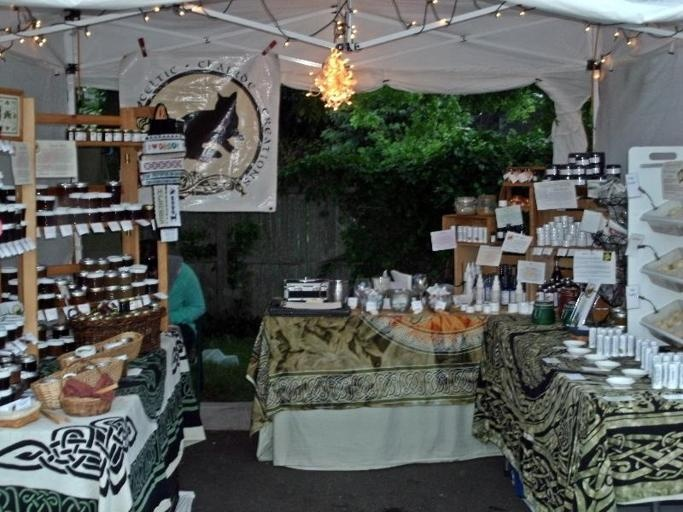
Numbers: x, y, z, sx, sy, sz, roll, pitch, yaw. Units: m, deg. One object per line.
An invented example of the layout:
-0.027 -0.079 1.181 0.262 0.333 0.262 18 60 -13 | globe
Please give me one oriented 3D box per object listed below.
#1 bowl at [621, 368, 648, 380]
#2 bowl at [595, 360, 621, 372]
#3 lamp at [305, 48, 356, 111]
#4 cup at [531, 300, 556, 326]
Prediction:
1.552 0.620 3.465 0.132 0.049 0.084 0 6 6 | bowl
1.485 0.602 3.631 0.151 0.047 0.098 0 6 -2 | bowl
-0.040 -1.393 5.172 0.304 0.444 0.340 10 15 23 | lamp
1.459 0.411 4.756 0.131 0.158 0.169 0 -4 1 | cup
